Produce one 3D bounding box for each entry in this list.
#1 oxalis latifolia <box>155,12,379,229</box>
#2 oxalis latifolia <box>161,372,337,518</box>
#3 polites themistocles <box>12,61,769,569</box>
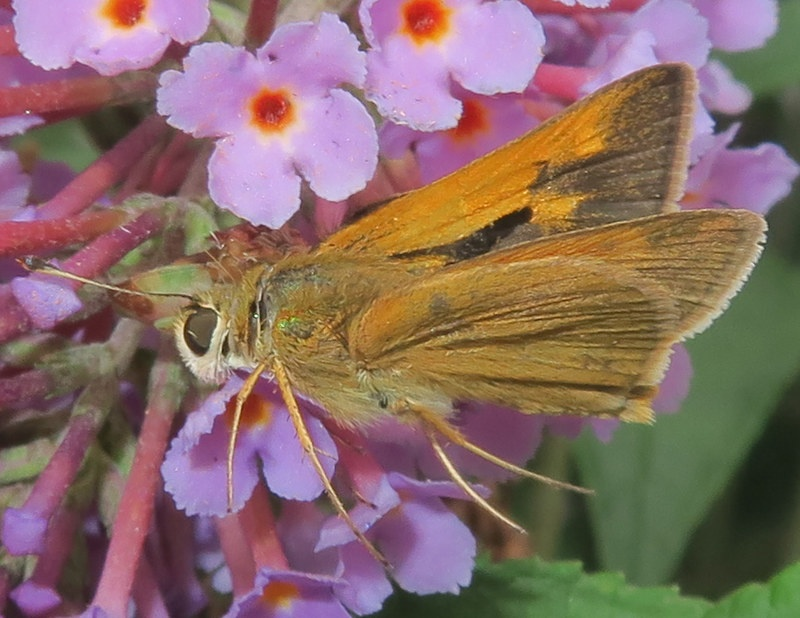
[{"bbox_3d":[-0.158,-0.236,1.167,0.262,0.224,0.155,-14,42,-8],"label":"oxalis latifolia"},{"bbox_3d":[-0.208,0.193,1.202,0.251,0.062,0.178,7,43,-2],"label":"oxalis latifolia"},{"bbox_3d":[0.098,-0.031,1.196,1.252,0.624,0.456,2,18,-2],"label":"polites themistocles"}]
